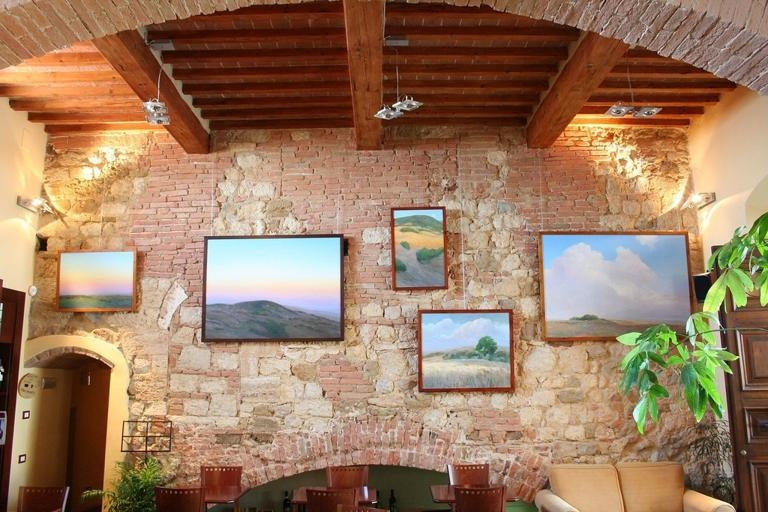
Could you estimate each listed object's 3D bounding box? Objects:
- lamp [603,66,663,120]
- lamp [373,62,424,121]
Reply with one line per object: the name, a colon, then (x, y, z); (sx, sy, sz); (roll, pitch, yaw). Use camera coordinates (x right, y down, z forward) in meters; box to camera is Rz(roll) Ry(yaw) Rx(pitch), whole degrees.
lamp: (3.102, -2.067, 6.722); (0.752, 0.622, 0.521); (4, -15, 7)
lamp: (0.225, -1.868, 6.135); (0.641, 0.476, 0.584); (-11, 16, -27)
